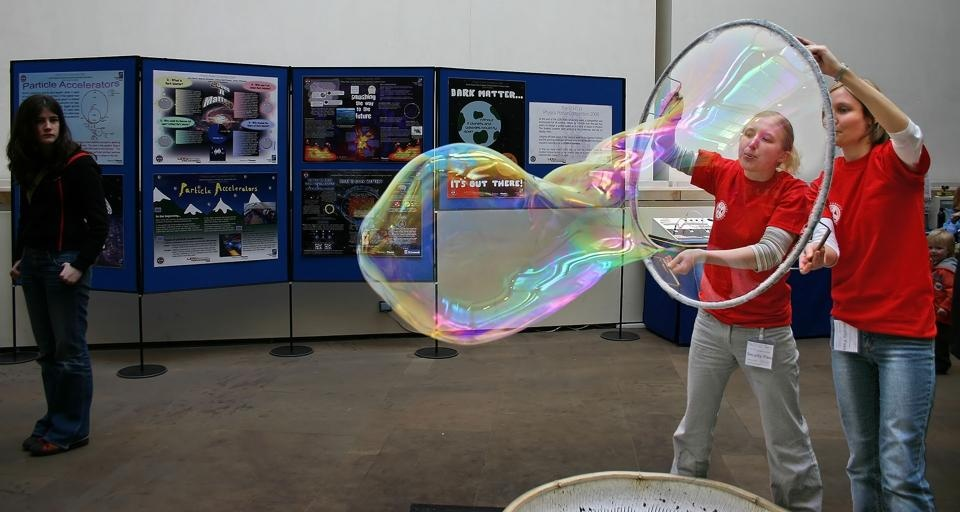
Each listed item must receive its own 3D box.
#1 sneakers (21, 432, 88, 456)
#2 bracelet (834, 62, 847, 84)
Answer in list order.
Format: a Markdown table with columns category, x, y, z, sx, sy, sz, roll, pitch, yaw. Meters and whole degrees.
| category | x | y | z | sx | sy | sz | roll | pitch | yaw |
| --- | --- | --- | --- | --- | --- | --- | --- | --- | --- |
| sneakers | -3.420 | 1.502 | 5.262 | 0.344 | 0.072 | 0.191 | 7 | -2 | -33 |
| bracelet | 2.172 | -1.103 | 3.996 | 0.112 | 0.115 | 0.051 | -2 | 5 | -5 |
